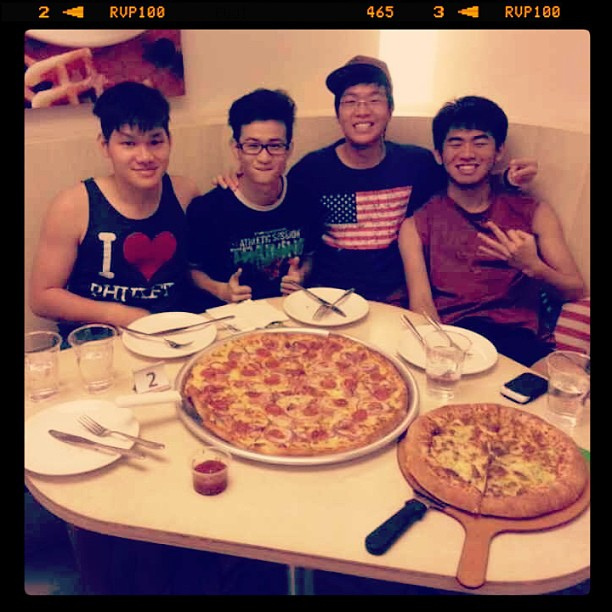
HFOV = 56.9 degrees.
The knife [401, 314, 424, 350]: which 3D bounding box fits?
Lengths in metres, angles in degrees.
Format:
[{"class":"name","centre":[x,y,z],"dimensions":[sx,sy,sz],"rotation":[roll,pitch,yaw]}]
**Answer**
[{"class":"knife","centre":[0.371,0.076,2.015],"dimensions":[0.026,0.022,0.231],"rotation":[15,29,-25]}]

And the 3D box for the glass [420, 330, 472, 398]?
[{"class":"glass","centre":[0.417,0.164,1.813],"dimensions":[0.181,0.228,0.183],"rotation":[2,13,10]}]

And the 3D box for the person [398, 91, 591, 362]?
[{"class":"person","centre":[0.762,-0.340,2.759],"dimensions":[0.989,1.323,0.747],"rotation":[-3,7,-32]}]

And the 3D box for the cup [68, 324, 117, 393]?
[{"class":"cup","centre":[-0.656,0.168,1.759],"dimensions":[0.136,0.186,0.160],"rotation":[9,16,18]}]

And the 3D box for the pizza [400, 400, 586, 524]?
[{"class":"pizza","centre":[0.480,0.395,1.481],"dimensions":[0.461,0.076,0.483],"rotation":[11,20,37]}]

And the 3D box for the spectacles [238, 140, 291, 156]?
[{"class":"spectacles","centre":[-0.197,-0.736,2.654],"dimensions":[0.235,0.069,0.064],"rotation":[-6,19,-9]}]

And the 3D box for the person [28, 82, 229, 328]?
[{"class":"person","centre":[-0.769,-0.439,2.645],"dimensions":[1.002,1.141,0.661],"rotation":[-9,29,-32]}]

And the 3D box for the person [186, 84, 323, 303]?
[{"class":"person","centre":[-0.271,-0.576,2.738],"dimensions":[0.566,0.909,0.515],"rotation":[-14,44,-16]}]

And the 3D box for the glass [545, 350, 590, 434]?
[{"class":"glass","centre":[0.721,0.236,1.602],"dimensions":[0.123,0.224,0.141],"rotation":[0,21,2]}]

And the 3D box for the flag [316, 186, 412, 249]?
[{"class":"flag","centre":[0.294,-0.440,2.866],"dimensions":[0.468,0.290,0.066],"rotation":[-1,18,5]}]

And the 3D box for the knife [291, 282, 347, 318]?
[{"class":"knife","centre":[0.048,-0.018,2.341],"dimensions":[0.232,0.043,0.033],"rotation":[37,36,17]}]
